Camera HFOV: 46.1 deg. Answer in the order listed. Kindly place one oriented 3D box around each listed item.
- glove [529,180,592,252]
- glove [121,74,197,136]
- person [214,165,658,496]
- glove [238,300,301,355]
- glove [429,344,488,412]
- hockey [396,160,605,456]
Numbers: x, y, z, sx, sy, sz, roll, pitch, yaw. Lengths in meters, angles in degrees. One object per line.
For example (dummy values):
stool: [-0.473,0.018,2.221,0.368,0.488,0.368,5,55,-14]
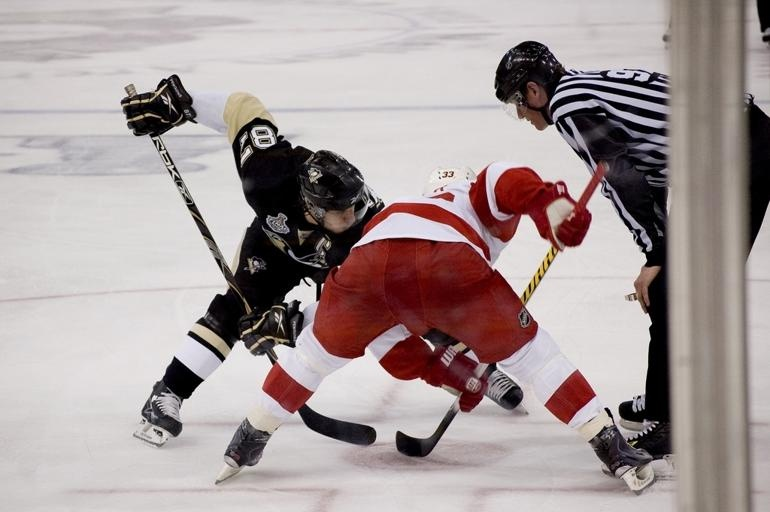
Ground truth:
glove: [0.668,-0.127,3.243,0.152,0.120,0.274,25,-23,-14]
glove: [-0.991,-0.658,4.026,0.321,0.222,0.134,-17,10,16]
person: [0.191,0.292,3.714,1.713,1.169,1.095,-3,-5,19]
glove: [-0.473,0.303,3.794,0.245,0.192,0.117,-12,-13,19]
glove: [0.292,0.483,3.580,0.238,0.234,0.096,32,37,15]
hockey: [0.466,0.263,3.652,0.127,1.466,0.195,16,20,-36]
